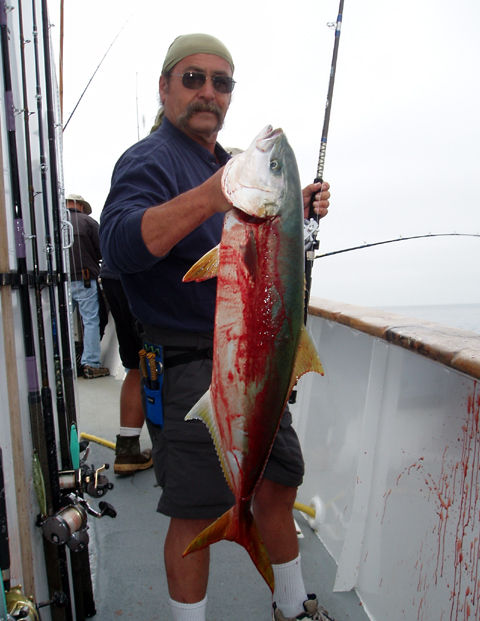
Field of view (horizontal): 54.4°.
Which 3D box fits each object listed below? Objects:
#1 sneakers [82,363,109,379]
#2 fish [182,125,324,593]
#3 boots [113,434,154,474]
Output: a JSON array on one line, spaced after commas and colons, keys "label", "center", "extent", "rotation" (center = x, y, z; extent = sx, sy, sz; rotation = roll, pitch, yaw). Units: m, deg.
[{"label": "sneakers", "center": [-1.485, 0.613, 4.796], "extent": [0.143, 0.081, 0.194], "rotation": [-1, -4, 43]}, {"label": "fish", "center": [0.028, 0.105, 0.922], "extent": [0.281, 0.869, 0.179], "rotation": [2, 8, -2]}, {"label": "boots", "center": [-0.606, 0.814, 2.703], "extent": [0.113, 0.211, 0.298], "rotation": [1, -4, 30]}]
